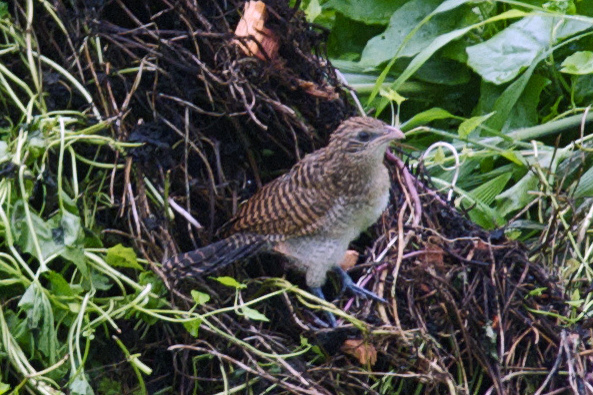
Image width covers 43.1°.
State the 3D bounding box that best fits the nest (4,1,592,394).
[{"bbox_3d":[-0.005,-0.004,2.387,0.945,1.973,1.479,1,89,0],"label":"nest"}]

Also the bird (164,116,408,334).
[{"bbox_3d":[-0.051,0.052,2.138,0.717,0.536,0.275,-1,12,15],"label":"bird"}]
